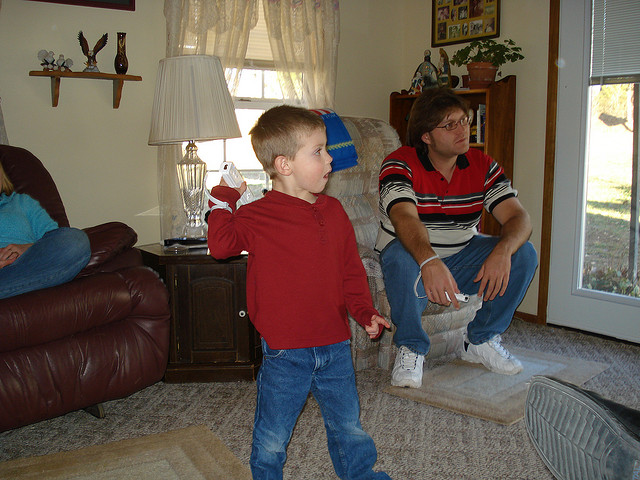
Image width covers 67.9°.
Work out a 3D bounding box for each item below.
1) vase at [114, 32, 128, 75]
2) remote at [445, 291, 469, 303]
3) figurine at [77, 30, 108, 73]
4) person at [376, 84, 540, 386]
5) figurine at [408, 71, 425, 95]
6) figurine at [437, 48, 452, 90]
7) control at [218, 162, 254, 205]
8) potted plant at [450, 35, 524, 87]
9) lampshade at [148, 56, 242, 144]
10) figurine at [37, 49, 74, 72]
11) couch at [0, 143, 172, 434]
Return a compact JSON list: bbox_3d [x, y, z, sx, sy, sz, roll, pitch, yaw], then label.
[{"bbox_3d":[-1.213,-1.129,2.864,0.086,0.243,0.102,-9,15,-21],"label":"vase"},{"bbox_3d":[0.577,0.246,1.955,0.070,0.032,0.055,8,3,-28],"label":"remote"},{"bbox_3d":[-1.341,-1.115,2.818,0.160,0.231,0.149,-10,16,-25],"label":"figurine"},{"bbox_3d":[0.673,0.008,2.307,0.784,1.463,0.801,-3,14,2],"label":"person"},{"bbox_3d":[0.717,-1.171,3.523,0.042,0.161,0.237,-5,15,-10],"label":"figurine"},{"bbox_3d":[0.901,-1.252,3.412,0.101,0.289,0.337,0,15,14],"label":"figurine"},{"bbox_3d":[-0.240,-0.169,1.412,0.099,0.128,0.093,-12,17,-32],"label":"control"},{"bbox_3d":[1.092,-1.182,3.161,0.386,0.329,0.481,9,15,34],"label":"potted plant"},{"bbox_3d":[-0.653,-0.657,2.483,0.458,0.438,0.475,-6,-2,34],"label":"lampshade"},{"bbox_3d":[-1.531,-1.039,2.746,0.188,0.131,0.155,-12,17,-30],"label":"figurine"},{"bbox_3d":[-0.958,0.112,2.400,0.792,1.180,1.077,-5,11,-32],"label":"couch"}]
